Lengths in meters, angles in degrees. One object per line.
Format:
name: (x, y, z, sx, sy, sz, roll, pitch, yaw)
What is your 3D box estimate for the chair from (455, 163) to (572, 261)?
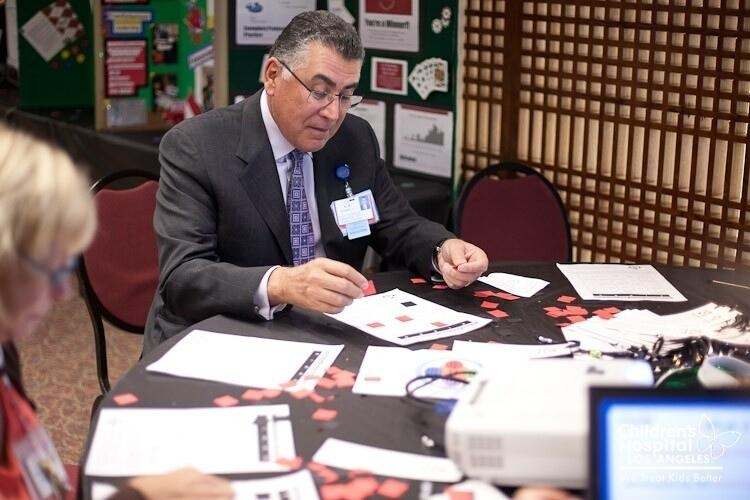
chair: (0.634, -0.238, 3.126, 0.477, 0.735, 0.535, -2, 10, -9)
